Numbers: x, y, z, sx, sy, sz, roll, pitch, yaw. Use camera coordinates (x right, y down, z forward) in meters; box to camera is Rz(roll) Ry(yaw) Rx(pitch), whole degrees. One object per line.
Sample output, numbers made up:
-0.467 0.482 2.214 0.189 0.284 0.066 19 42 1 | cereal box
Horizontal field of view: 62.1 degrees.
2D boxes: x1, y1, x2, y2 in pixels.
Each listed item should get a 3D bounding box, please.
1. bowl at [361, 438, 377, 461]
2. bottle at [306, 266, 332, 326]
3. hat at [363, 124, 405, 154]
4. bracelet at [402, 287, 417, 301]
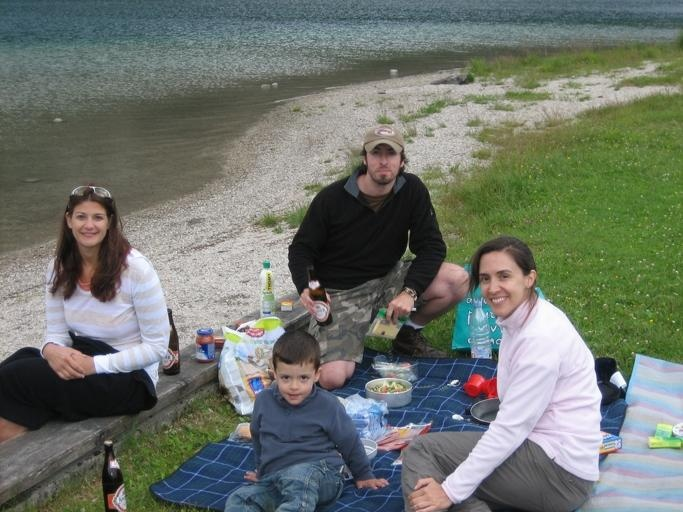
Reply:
0.229 1.551 4.566 0.171 0.087 0.168 -1 28 0 | bowl
-0.212 0.433 5.771 0.231 0.575 0.423 -4 27 -2 | bottle
0.424 -1.177 5.690 0.406 0.250 0.364 0 27 5 | hat
0.710 0.366 5.752 0.136 0.053 0.121 40 4 6 | bracelet
